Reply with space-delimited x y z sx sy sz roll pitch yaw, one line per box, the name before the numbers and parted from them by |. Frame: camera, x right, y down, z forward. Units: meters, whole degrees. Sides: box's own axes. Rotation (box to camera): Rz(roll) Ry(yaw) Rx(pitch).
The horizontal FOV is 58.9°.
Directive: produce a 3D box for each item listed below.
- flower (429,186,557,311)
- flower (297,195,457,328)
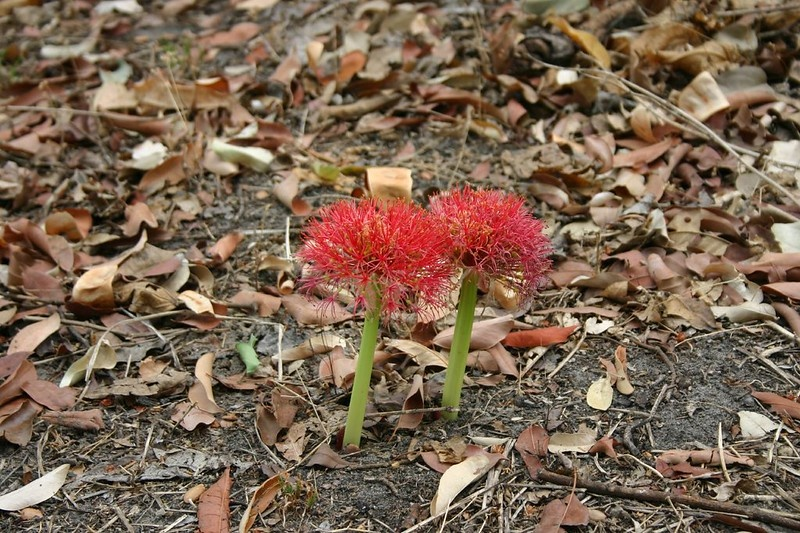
flower | 0.275 -0.028 2.555 0.471 0.415 0.455 6 44 20
flower | -0.063 -0.031 2.523 0.578 0.539 0.452 4 72 -5
